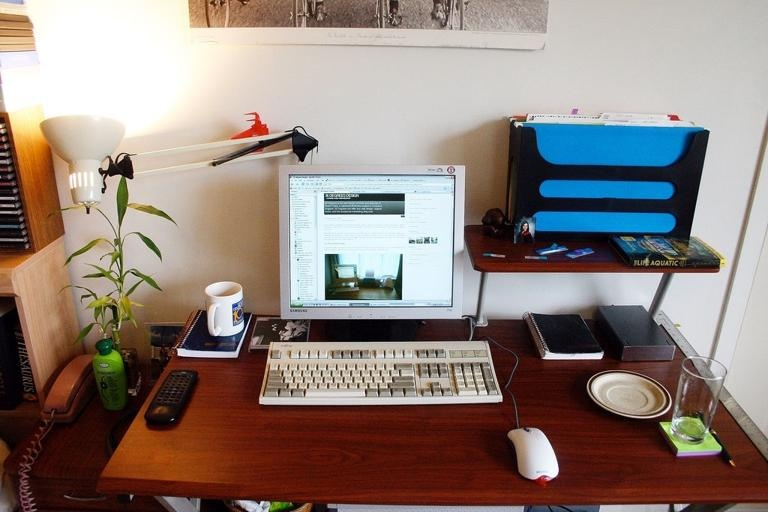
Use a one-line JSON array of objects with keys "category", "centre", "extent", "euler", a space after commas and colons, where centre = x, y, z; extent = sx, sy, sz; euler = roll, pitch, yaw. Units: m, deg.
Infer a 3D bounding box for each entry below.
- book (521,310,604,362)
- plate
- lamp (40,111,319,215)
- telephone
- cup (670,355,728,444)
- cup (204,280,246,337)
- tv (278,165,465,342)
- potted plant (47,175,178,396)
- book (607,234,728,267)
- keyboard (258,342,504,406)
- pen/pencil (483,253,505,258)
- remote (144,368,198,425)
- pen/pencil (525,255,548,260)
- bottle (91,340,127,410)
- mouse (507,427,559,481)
[{"category": "book", "centre": [0.618, 0.284, 1.919], "extent": [0.352, 0.048, 0.335], "euler": [0, 21, -3]}, {"category": "plate", "centre": [0.753, 0.434, 1.716], "extent": [0.155, 0.019, 0.149], "euler": [-8, 32, -13]}, {"category": "lamp", "centre": [-0.492, -0.385, 1.909], "extent": [1.121, 0.302, 0.329], "euler": [-11, 15, -29]}, {"category": "telephone", "centre": [-1.093, 0.466, 1.949], "extent": [0.104, 0.154, 0.210], "euler": [4, 22, 13]}, {"category": "cup", "centre": [0.900, 0.419, 1.659], "extent": [0.153, 0.248, 0.176], "euler": [2, 9, -3]}, {"category": "cup", "centre": [-0.545, 0.178, 1.935], "extent": [0.134, 0.190, 0.174], "euler": [11, 23, -5]}, {"category": "tv", "centre": [-0.042, -0.034, 1.829], "extent": [0.648, 0.563, 0.200], "euler": [0, 7, 0]}, {"category": "potted plant", "centre": [-0.975, 0.134, 2.030], "extent": [0.310, 0.791, 0.247], "euler": [12, 28, 19]}, {"category": "book", "centre": [0.910, -0.016, 1.800], "extent": [0.307, 0.060, 0.165], "euler": [0, 21, 2]}, {"category": "keyboard", "centre": [-0.011, 0.372, 1.779], "extent": [0.736, 0.074, 0.264], "euler": [1, 33, -3]}, {"category": "pen/pencil", "centre": [0.359, -0.003, 1.795], "extent": [0.072, 0.007, 0.022], "euler": [3, 33, 16]}, {"category": "remote", "centre": [-0.648, 0.424, 1.717], "extent": [0.104, 0.027, 0.203], "euler": [4, 36, 8]}, {"category": "pen/pencil", "centre": [0.490, 0.005, 1.780], "extent": [0.045, 0.003, 0.012], "euler": [3, 44, 4]}, {"category": "bottle", "centre": [-0.920, 0.414, 1.872], "extent": [0.130, 0.226, 0.134], "euler": [2, 20, -1]}, {"category": "mouse", "centre": [0.424, 0.549, 1.540], "extent": [0.122, 0.088, 0.137], "euler": [-4, 21, -8]}]
